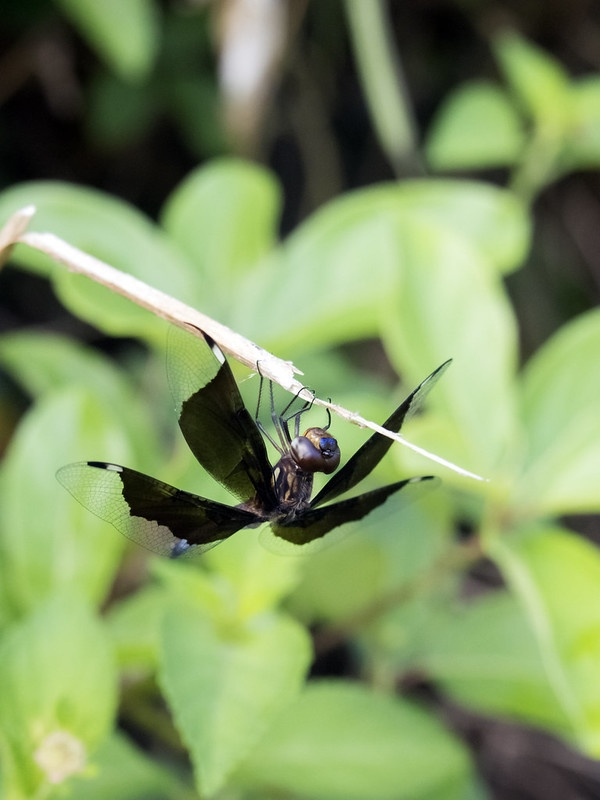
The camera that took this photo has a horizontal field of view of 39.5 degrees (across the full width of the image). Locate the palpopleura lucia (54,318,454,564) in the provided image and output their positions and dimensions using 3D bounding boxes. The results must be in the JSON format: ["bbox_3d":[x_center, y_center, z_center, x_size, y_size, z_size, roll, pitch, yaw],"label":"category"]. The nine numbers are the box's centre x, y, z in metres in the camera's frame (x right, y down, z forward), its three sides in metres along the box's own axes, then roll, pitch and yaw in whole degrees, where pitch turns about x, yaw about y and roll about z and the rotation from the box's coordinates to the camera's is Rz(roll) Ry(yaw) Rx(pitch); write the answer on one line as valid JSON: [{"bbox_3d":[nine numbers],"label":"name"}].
[{"bbox_3d":[-0.079,0.067,0.743,0.397,0.209,0.155,6,54,-37],"label":"palpopleura lucia"}]
